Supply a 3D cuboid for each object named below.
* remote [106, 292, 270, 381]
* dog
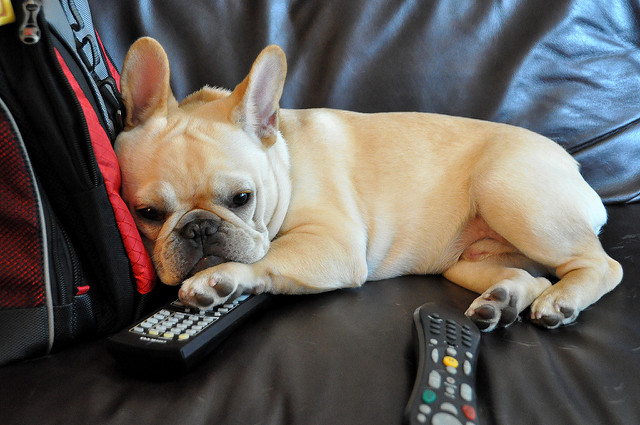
[{"bbox_3d":[-0.377,0.345,1.552,0.255,0.101,0.473,0,10,16],"label":"remote"},{"bbox_3d":[0.108,-0.055,1.929,1.476,0.939,0.797,5,78,-17],"label":"dog"}]
